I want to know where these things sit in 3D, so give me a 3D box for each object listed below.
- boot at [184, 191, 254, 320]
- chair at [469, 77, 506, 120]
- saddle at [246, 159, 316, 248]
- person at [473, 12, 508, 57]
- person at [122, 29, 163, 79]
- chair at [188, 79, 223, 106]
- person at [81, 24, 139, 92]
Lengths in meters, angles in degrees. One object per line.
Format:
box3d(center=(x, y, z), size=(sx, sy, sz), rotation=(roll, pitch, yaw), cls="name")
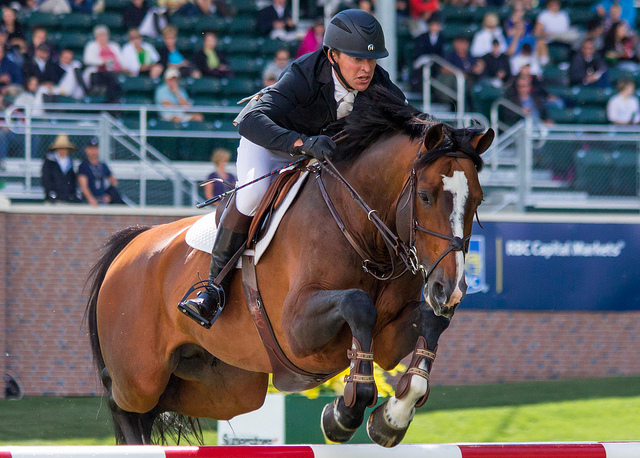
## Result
box3d(center=(-1.227, 0.165, 17.602), size=(0.709, 1.599, 0.775), rotation=(-6, 11, -27), cls="boot")
box3d(center=(2.765, -2.194, 24.718), size=(0.586, 0.660, 0.793), rotation=(7, 7, 8), cls="chair")
box3d(center=(-0.484, -0.345, 17.379), size=(0.668, 1.087, 0.645), rotation=(-9, 13, -37), cls="saddle")
box3d(center=(2.932, -3.354, 25.797), size=(0.464, 0.918, 0.348), rotation=(6, -10, -7), cls="person")
box3d(center=(-2.930, -2.840, 24.421), size=(0.639, 0.816, 0.202), rotation=(-3, -11, -37), cls="person")
box3d(center=(-1.930, -2.310, 25.066), size=(0.421, 0.424, 0.603), rotation=(-1, 2, 19), cls="chair")
box3d(center=(-3.541, -2.924, 24.266), size=(0.904, 1.124, 0.375), rotation=(-1, -14, -23), cls="person")
